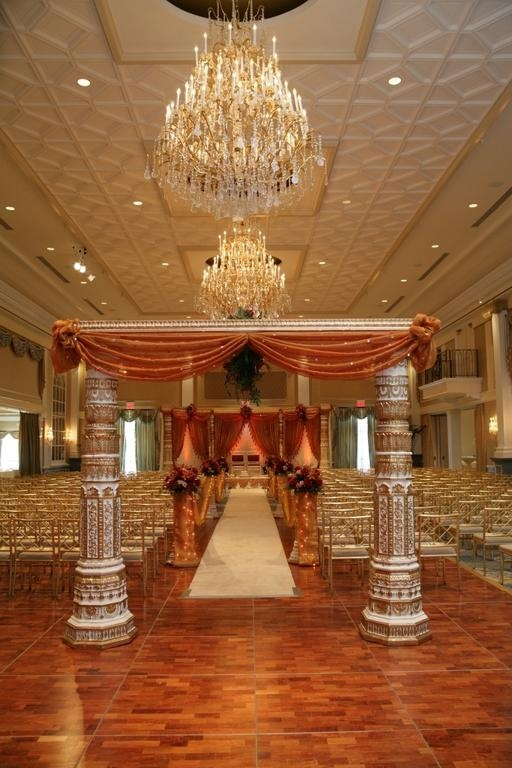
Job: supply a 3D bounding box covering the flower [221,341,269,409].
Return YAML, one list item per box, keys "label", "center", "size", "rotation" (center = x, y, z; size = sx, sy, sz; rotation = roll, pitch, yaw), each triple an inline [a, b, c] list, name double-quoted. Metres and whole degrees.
- label: "flower"
  center: [-0.148, -0.073, 5.542]
  size: [0.406, 0.585, 0.996]
  rotation: [1, -8, -2]

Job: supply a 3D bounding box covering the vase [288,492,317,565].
- label: "vase"
  center: [0.642, 2.073, 7.206]
  size: [0.436, 1.005, 0.436]
  rotation: [-1, -8, 13]

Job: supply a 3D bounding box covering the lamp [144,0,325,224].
- label: "lamp"
  center: [-0.361, -3.504, 7.048]
  size: [1.901, 3.964, 1.916]
  rotation: [-2, 1, -13]

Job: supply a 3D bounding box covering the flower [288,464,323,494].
- label: "flower"
  center: [0.696, 1.365, 7.194]
  size: [0.387, 0.383, 0.410]
  rotation: [0, -2, 7]

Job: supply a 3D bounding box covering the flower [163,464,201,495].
- label: "flower"
  center: [-1.058, 1.391, 7.311]
  size: [0.422, 0.321, 0.445]
  rotation: [0, 0, -6]

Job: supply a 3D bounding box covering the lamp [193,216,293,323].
- label: "lamp"
  center: [-0.291, -2.521, 11.050]
  size: [1.699, 2.524, 2.178]
  rotation: [1, -8, -5]
